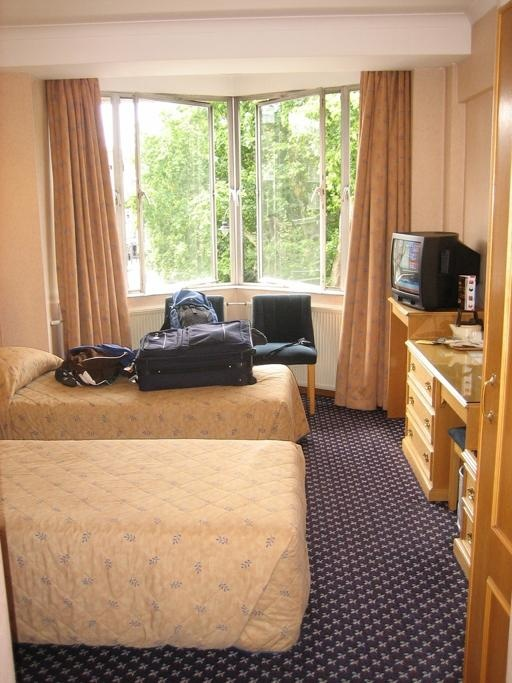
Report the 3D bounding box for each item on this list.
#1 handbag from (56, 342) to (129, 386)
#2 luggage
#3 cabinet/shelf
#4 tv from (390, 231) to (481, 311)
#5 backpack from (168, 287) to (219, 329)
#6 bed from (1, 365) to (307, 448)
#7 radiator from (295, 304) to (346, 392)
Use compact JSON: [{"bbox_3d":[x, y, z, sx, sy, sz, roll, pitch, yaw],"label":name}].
[{"bbox_3d":[-1.060,0.087,3.321,0.323,0.146,0.283,10,23,39],"label":"handbag"},{"bbox_3d":[-0.374,0.074,3.363,0.727,0.275,0.602,-2,15,-4],"label":"luggage"},{"bbox_3d":[0.967,0.521,2.791,0.313,0.606,1.229,2,16,6],"label":"cabinet/shelf"},{"bbox_3d":[1.194,-0.524,3.745,0.538,0.540,0.592,-5,14,-9],"label":"tv"},{"bbox_3d":[-0.516,-0.276,4.390,0.316,0.438,0.383,3,10,-1],"label":"backpack"},{"bbox_3d":[-0.619,0.393,3.038,1.006,0.256,0.667,-1,12,-1],"label":"bed"},{"bbox_3d":[0.625,0.023,4.978,0.791,0.882,0.088,2,7,20],"label":"radiator"}]
